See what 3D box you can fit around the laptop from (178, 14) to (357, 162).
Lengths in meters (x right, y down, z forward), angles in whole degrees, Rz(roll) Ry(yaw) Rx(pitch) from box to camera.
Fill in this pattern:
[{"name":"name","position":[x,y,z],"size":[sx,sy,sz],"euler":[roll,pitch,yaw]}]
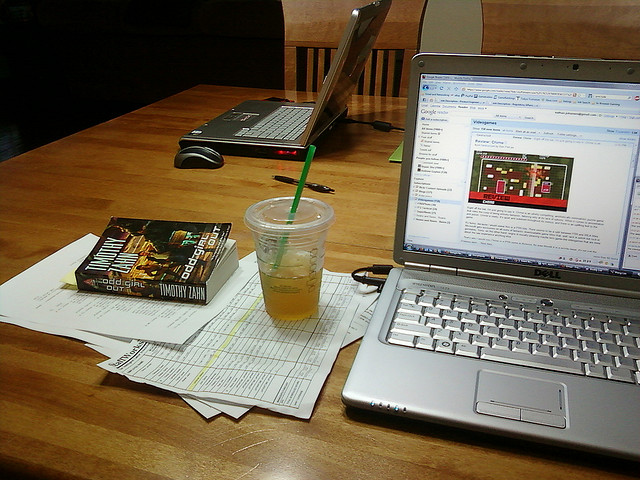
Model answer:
[{"name":"laptop","position":[-0.099,-0.420,1.367],"size":[0.499,0.239,0.422],"euler":[5,32,18]}]

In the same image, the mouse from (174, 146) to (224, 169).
[{"name":"mouse","position":[-0.296,-0.197,1.226],"size":[0.120,0.028,0.051],"euler":[0,27,-1]}]

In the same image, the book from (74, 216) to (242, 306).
[{"name":"book","position":[-0.251,0.024,0.817],"size":[0.239,0.051,0.124],"euler":[8,53,22]}]
